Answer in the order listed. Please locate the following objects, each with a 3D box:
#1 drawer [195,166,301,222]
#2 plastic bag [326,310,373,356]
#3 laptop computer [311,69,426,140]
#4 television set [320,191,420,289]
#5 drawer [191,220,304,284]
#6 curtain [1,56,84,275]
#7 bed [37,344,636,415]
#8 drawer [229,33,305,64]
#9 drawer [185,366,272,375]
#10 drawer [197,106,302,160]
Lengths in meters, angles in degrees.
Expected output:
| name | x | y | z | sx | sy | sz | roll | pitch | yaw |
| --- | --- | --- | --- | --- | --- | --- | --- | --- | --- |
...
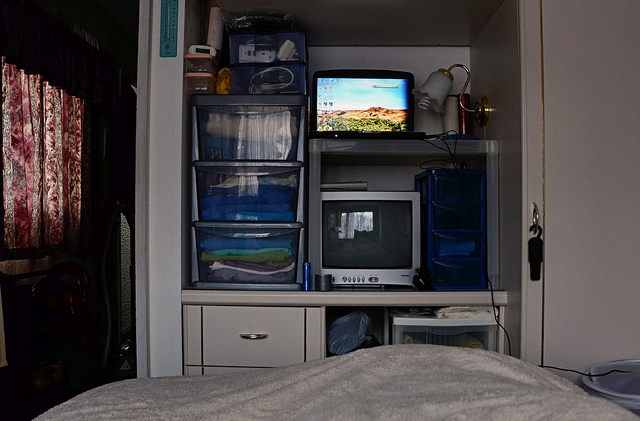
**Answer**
| name | x | y | z | sx | sy | sz | roll | pitch | yaw |
| --- | --- | --- | --- | --- | --- | --- | --- | --- | --- |
| drawer | -0.395 | -0.094 | 3.090 | 0.568 | 0.215 | 0.082 | 1 | -1 | 5 |
| plastic bag | 0.160 | 0.670 | 3.068 | 0.235 | 0.220 | 0.083 | 1 | -1 | 1 |
| laptop computer | 0.278 | -0.607 | 3.256 | 0.644 | 0.429 | 0.384 | 0 | 10 | -7 |
| television set | 0.295 | 0.119 | 3.320 | 0.594 | 0.556 | 0.338 | -1 | 15 | 5 |
| drawer | -0.399 | 0.243 | 3.094 | 0.561 | 0.232 | 0.093 | 1 | -1 | 7 |
| curtain | -1.746 | -0.327 | 3.550 | 0.053 | 1.231 | 0.708 | 1 | -1 | 16 |
| bed | 0.129 | 0.661 | 2.150 | 1.976 | 0.240 | 0.285 | 1 | 0 | 4 |
| drawer | -0.300 | -0.927 | 3.201 | 0.427 | 0.122 | 0.056 | 1 | -1 | 10 |
| drawer | -0.518 | 0.863 | 3.000 | 0.405 | 0.034 | 0.089 | 1 | 0 | -6 |
| drawer | -0.340 | -0.453 | 3.311 | 0.661 | 0.351 | 0.481 | 2 | 3 | 15 |
